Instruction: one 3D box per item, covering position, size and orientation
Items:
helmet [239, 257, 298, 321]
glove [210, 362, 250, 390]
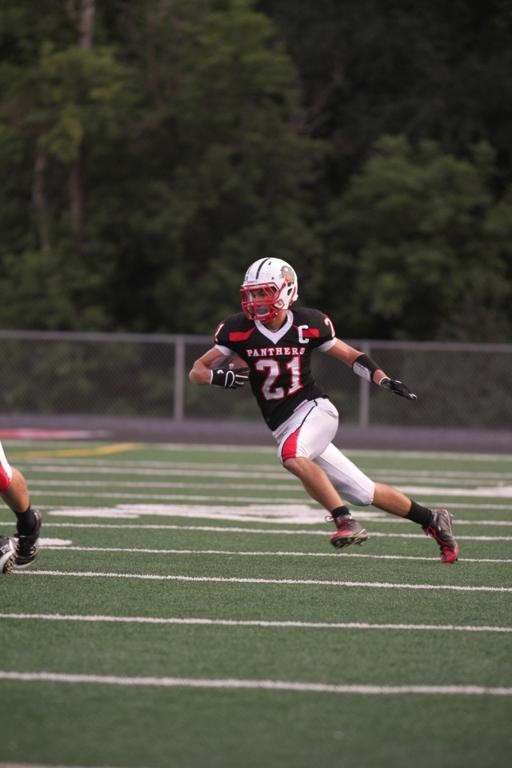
[{"bbox_3d":[0.061,-0.573,5.443,0.273,0.379,0.304,1,10,11],"label":"helmet"},{"bbox_3d":[-0.174,-0.063,5.636,0.078,0.114,0.270,-13,-4,26],"label":"glove"}]
